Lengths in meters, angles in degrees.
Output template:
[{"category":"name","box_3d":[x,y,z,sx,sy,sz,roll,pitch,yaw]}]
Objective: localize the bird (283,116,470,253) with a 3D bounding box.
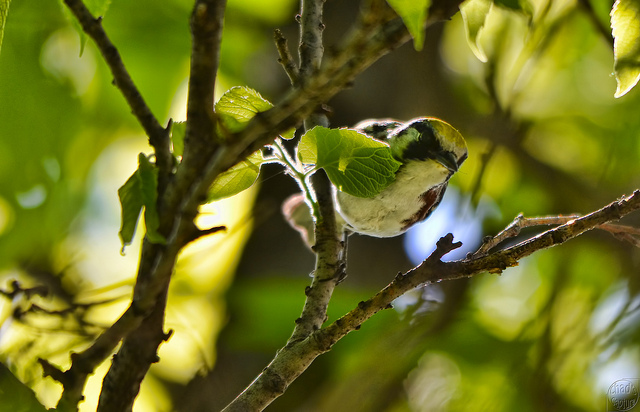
[{"category":"bird","box_3d":[0.117,-0.031,1.744,0.257,0.293,0.415,25,-15,-33]}]

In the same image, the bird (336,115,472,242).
[{"category":"bird","box_3d":[0.120,-0.073,1.714,0.301,0.203,0.164,31,-8,45]}]
